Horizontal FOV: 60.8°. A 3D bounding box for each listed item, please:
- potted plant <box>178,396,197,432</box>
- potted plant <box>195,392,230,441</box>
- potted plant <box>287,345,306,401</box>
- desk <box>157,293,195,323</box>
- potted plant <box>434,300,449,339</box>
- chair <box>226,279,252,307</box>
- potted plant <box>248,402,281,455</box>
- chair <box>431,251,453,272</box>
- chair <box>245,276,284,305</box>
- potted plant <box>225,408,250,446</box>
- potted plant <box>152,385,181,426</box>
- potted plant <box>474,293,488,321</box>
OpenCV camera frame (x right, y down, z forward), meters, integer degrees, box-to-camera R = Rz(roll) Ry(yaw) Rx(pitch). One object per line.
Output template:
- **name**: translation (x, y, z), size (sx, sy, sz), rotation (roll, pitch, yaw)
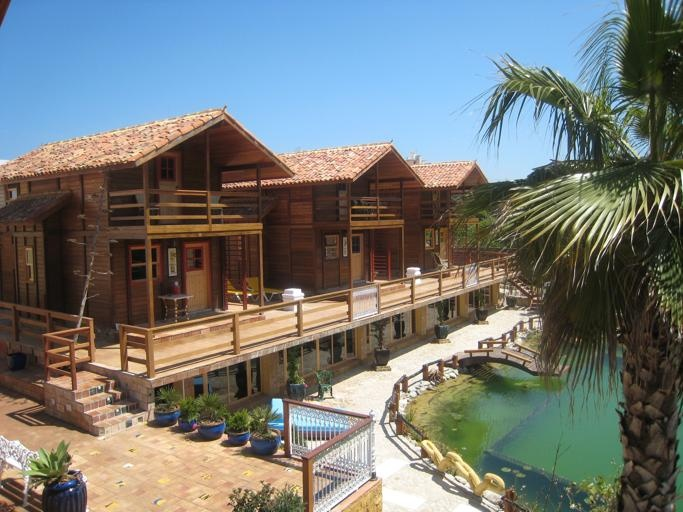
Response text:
- **potted plant**: translation (-3.840, 3.986, 14.642), size (0.492, 0.817, 0.537), rotation (-4, 1, -32)
- **potted plant**: translation (-3.191, 4.058, 14.635), size (1.018, 0.964, 0.868), rotation (-9, -16, 10)
- **potted plant**: translation (-1.579, 3.996, 19.869), size (0.596, 1.643, 0.510), rotation (-4, 1, -6)
- **desk**: translation (-5.470, 1.771, 19.324), size (1.072, 0.788, 1.211), rotation (1, 0, -30)
- **potted plant**: translation (4.968, 3.107, 29.013), size (0.718, 1.567, 1.360), rotation (-4, 1, 8)
- **chair**: translation (-4.200, 1.416, 23.870), size (1.626, 0.927, 0.947), rotation (2, 6, 43)
- **potted plant**: translation (-1.837, 4.113, 13.768), size (0.959, 0.887, 0.806), rotation (1, 1, 4)
- **chair**: translation (5.515, 0.314, 32.837), size (1.582, 1.284, 1.037), rotation (-2, 6, -4)
- **chair**: translation (-3.389, 1.449, 24.510), size (1.665, 0.901, 0.884), rotation (4, 8, 34)
- **potted plant**: translation (-2.465, 4.115, 14.020), size (0.631, 0.793, 0.447), rotation (-4, 1, 0)
- **potted plant**: translation (-4.437, 3.848, 15.074), size (0.784, 0.877, 0.729), rotation (-12, -11, 31)
- **potted plant**: translation (8.019, 2.835, 33.794), size (0.595, 1.358, 2.620), rotation (-4, 1, 12)
